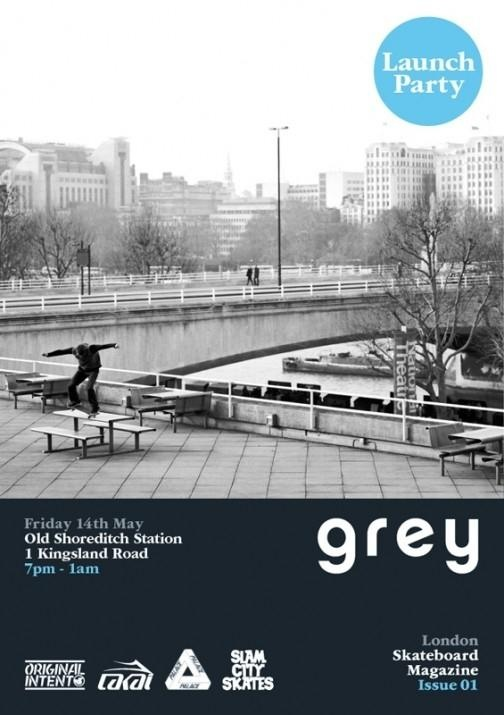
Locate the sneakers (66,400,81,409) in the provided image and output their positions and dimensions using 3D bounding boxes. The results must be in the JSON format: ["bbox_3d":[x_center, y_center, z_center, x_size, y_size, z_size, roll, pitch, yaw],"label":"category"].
[{"bbox_3d":[-2.304,0.603,14.597,0.196,0.117,0.094,6,4,29],"label":"sneakers"}]

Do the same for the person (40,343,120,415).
[{"bbox_3d":[-2.975,0.339,18.962,0.781,0.980,0.372,0,-1,13],"label":"person"}]
